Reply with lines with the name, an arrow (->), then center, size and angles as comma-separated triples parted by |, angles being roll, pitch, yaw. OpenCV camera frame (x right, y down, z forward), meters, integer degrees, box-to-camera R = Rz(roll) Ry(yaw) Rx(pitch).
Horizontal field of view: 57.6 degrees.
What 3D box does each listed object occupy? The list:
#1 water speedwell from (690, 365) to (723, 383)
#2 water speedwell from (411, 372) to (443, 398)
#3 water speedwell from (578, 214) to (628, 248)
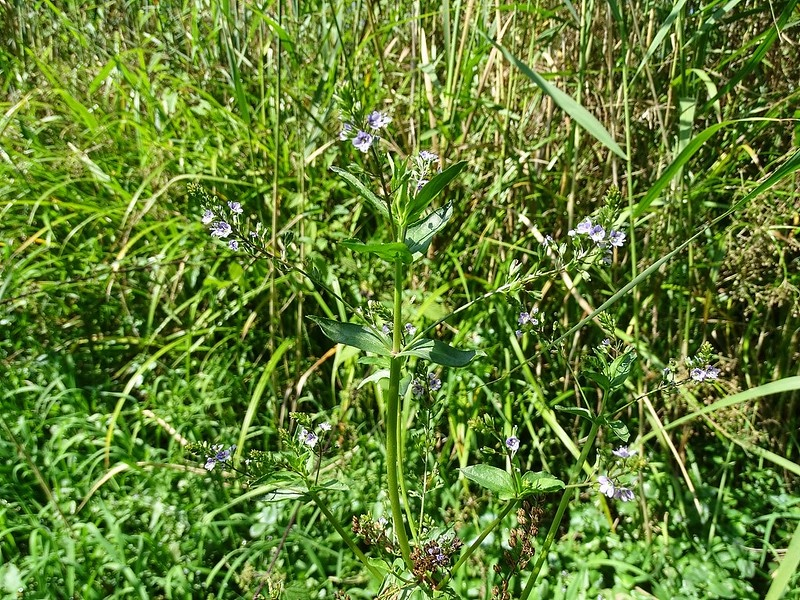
water speedwell -> 1.212, 0.300, 2.883 | 0.093, 0.033, 0.088 | -3, 78, -9
water speedwell -> 0.094, 0.358, 3.048 | 0.101, 0.058, 0.110 | -27, 55, -26
water speedwell -> 0.755, -0.263, 2.721 | 0.149, 0.075, 0.106 | 25, 50, 2
